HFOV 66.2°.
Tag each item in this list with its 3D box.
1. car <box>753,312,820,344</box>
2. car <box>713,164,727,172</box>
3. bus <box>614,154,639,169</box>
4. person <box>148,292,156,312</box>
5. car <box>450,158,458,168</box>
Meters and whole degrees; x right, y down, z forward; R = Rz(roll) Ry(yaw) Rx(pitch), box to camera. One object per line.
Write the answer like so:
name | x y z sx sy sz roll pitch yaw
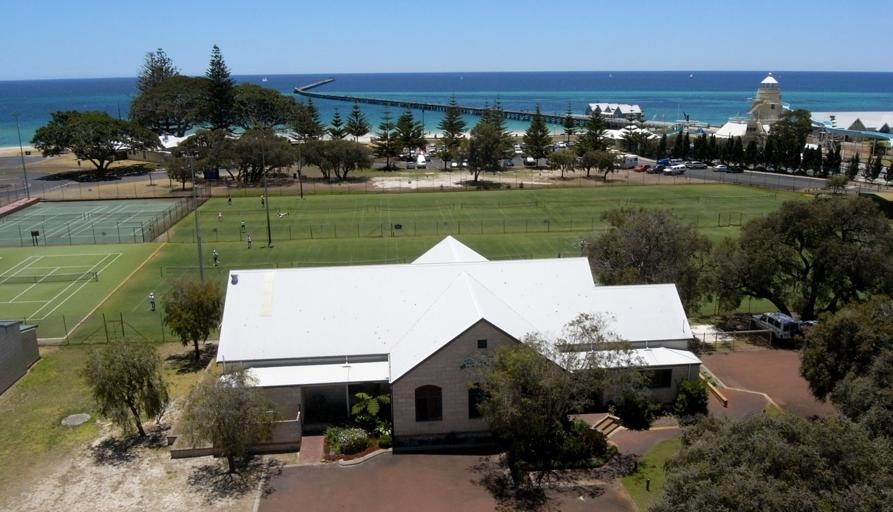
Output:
car | 33.560 7.623 68.875 3.038 2.411 5.206 -2 18 -10
car | 56.282 -17.717 140.095 2.625 0.861 1.739 -17 25 -35
bus | 36.830 -19.330 140.690 5.342 2.689 3.504 -10 24 -19
person | -32.499 5.116 75.464 0.466 1.813 0.763 -3 32 -10
car | 1.719 -19.644 146.173 1.467 1.810 7.820 1 14 0
